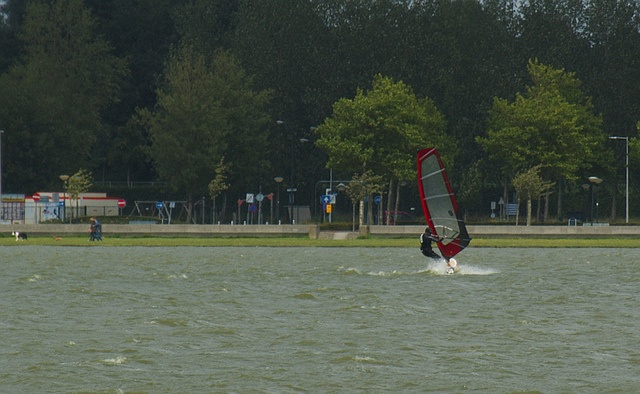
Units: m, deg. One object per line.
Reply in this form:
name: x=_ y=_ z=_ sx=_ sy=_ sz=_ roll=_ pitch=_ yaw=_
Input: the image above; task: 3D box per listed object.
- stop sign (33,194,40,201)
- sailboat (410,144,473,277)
stop sign: x=-41.450 y=0.070 z=238.266 sx=0.994 sy=0.772 sz=0.945 roll=1 pitch=2 yaw=2
sailboat: x=14.925 y=0.586 z=204.821 sx=5.320 sy=13.071 sz=2.809 roll=-1 pitch=-3 yaw=-6
